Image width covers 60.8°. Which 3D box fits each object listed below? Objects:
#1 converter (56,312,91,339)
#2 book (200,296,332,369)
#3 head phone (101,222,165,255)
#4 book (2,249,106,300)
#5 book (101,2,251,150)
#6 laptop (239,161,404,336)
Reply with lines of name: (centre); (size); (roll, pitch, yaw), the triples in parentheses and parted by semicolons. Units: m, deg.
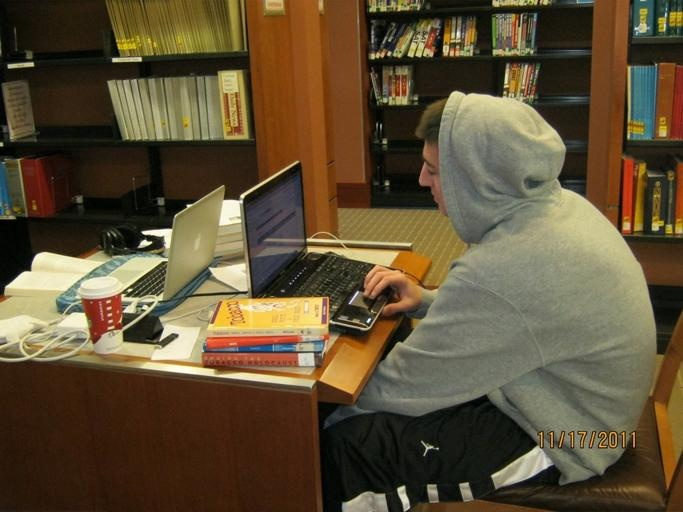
converter: (-0.786, 0.200, 1.716); (0.078, 0.020, 0.085); (5, 22, 2)
book: (-0.204, 0.206, 1.576); (0.221, 0.059, 0.222); (1, 26, 5)
head phone: (-0.815, -0.062, 2.285); (0.173, 0.081, 0.151); (5, 21, 13)
book: (-1.031, 0.063, 2.088); (0.221, 0.057, 0.208); (2, 19, 9)
book: (-0.993, -1.121, 3.576); (0.862, 0.839, 0.313); (5, 20, 21)
laptop: (-0.074, 0.067, 1.962); (0.502, 0.464, 0.665); (4, 23, 13)
